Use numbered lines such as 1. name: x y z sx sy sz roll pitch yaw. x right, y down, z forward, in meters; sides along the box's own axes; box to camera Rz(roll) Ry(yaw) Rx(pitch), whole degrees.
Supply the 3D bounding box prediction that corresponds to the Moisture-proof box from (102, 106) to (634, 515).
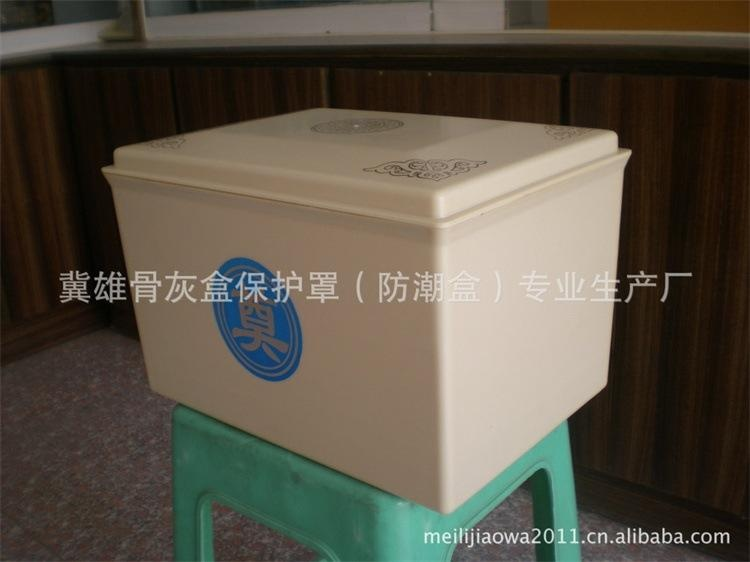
1. Moisture-proof box: -0.040 -0.015 0.773 0.504 0.337 0.414 9 21 25
